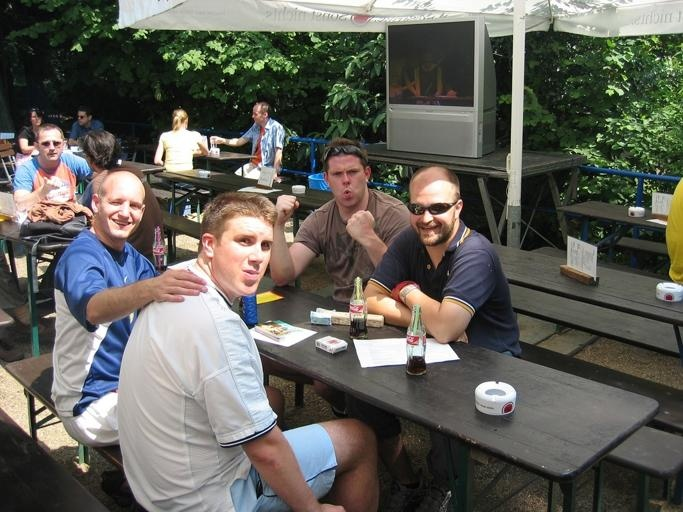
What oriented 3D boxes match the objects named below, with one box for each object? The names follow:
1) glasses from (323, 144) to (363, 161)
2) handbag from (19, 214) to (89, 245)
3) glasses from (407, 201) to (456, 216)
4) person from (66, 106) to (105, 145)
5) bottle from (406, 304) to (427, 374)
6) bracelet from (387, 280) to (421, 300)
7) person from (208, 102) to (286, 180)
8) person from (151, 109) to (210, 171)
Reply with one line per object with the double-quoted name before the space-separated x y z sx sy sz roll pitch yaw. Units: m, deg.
"glasses" 0.015 -0.772 4.101 0.166 0.074 0.148 2 2 18
"handbag" -2.517 -0.222 4.866 0.545 0.242 0.565 4 7 25
"glasses" 0.528 -0.275 3.213 0.278 0.077 0.096 1 11 10
"person" -5.348 -2.601 11.628 0.716 0.984 0.585 3 16 -5
"bottle" 0.370 0.416 2.776 0.097 0.324 0.151 0 10 8
"bracelet" 0.366 0.211 3.319 0.136 0.063 0.105 -34 -38 29
"person" -1.597 -1.824 9.676 1.232 1.613 0.799 3 16 5
"person" -2.770 -1.720 9.766 0.717 1.565 0.916 -2 -2 20
